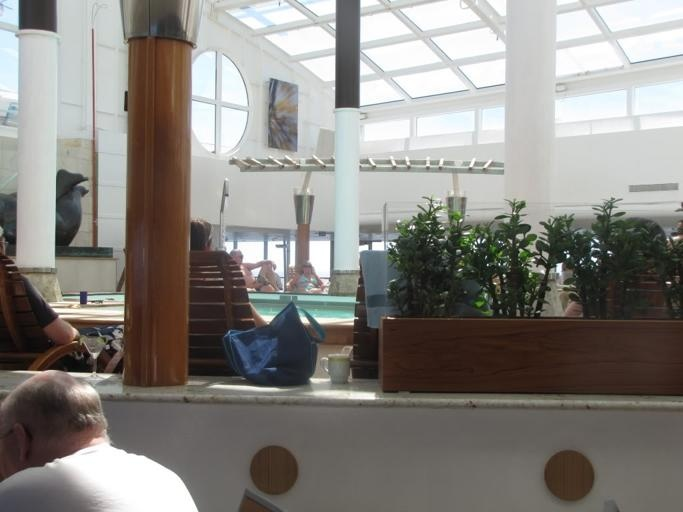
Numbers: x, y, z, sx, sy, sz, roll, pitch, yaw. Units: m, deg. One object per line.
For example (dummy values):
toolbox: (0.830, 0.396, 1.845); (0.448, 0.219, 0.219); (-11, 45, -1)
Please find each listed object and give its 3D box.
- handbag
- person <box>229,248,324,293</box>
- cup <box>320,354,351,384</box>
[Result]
handbag: (-0.277, 0.388, 2.632); (0.394, 0.318, 0.295); (-2, -6, 12)
person: (-1.043, 0.354, 10.172); (1.400, 0.898, 0.773); (-3, 5, -3)
cup: (-0.029, 0.494, 2.599); (0.082, 0.108, 0.136); (1, -6, -18)
